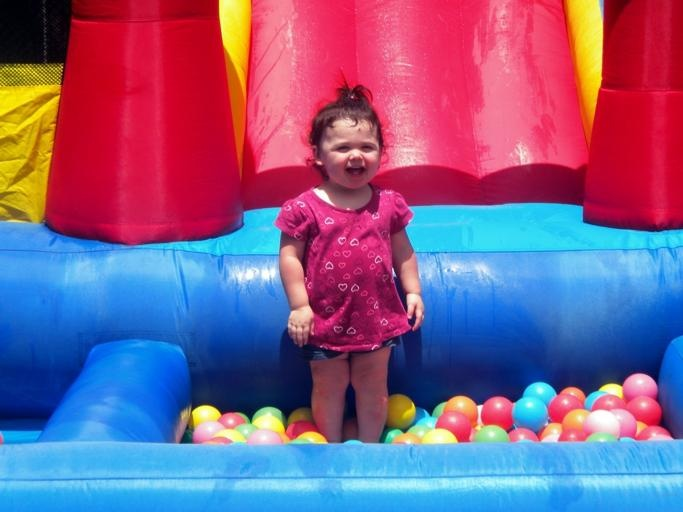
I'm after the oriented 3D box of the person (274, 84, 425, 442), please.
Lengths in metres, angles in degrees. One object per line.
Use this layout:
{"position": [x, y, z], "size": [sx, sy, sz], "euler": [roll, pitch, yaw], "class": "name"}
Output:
{"position": [0.045, 0.020, 2.207], "size": [0.411, 1.190, 0.417], "euler": [-2, -6, 23], "class": "person"}
